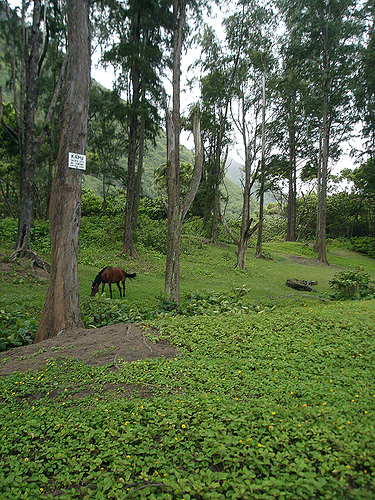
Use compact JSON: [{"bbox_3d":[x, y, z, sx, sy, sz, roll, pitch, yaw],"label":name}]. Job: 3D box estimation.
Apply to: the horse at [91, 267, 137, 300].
[{"bbox_3d":[-2.156,0.968,10.947,0.367,0.967,1.856,1,2,39],"label":"horse"}]
